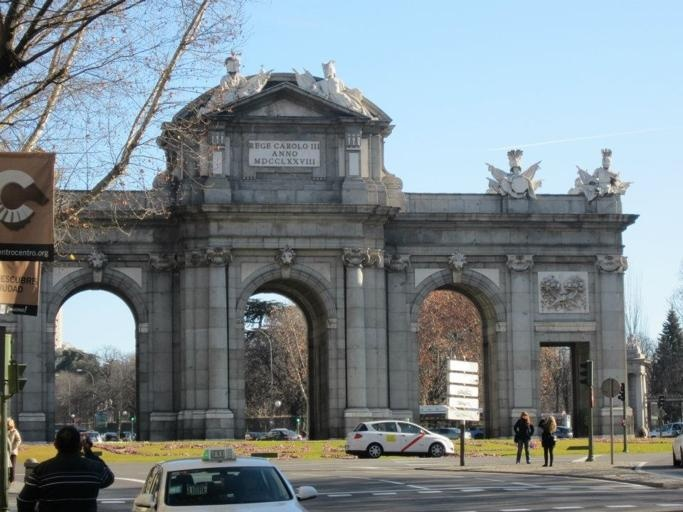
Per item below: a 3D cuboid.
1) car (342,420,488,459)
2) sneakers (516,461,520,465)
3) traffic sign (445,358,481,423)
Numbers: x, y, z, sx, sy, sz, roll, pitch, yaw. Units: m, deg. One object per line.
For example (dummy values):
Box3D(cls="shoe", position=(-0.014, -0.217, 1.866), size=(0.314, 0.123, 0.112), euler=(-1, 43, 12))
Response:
Box3D(cls="car", position=(2.330, 7.693, 66.270), size=(4.099, 1.661, 1.028), euler=(3, -12, -19))
Box3D(cls="sneakers", position=(6.648, 7.886, 60.313), size=(0.119, 0.133, 0.116), euler=(2, 0, 17))
Box3D(cls="traffic sign", position=(4.390, 4.904, 58.064), size=(0.866, 2.194, 1.697), euler=(-7, -13, 27))
